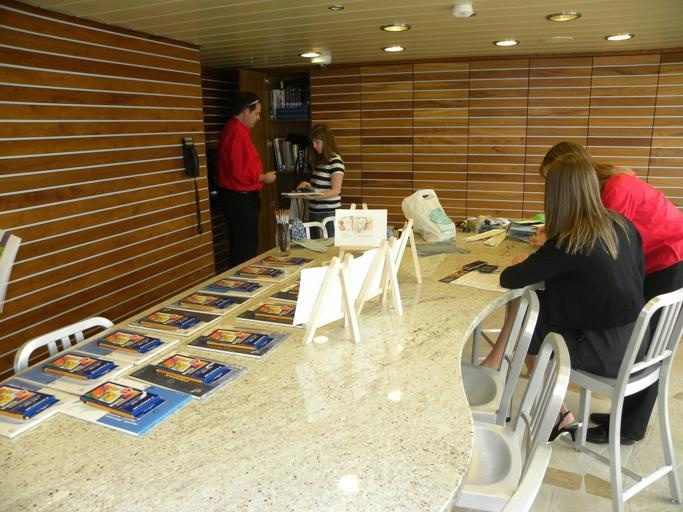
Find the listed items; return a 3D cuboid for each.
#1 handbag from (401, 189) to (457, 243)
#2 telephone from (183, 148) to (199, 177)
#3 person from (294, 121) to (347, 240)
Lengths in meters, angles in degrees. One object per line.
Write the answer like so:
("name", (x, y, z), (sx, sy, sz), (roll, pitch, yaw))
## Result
("handbag", (0.667, -0.312, 3.593), (0.373, 0.308, 0.366), (-19, 28, -30))
("telephone", (-1.434, -0.897, 4.554), (0.132, 0.276, 0.113), (-9, 20, -13))
("person", (-0.223, -0.818, 5.016), (0.506, 1.129, 0.955), (-6, 18, -4))
